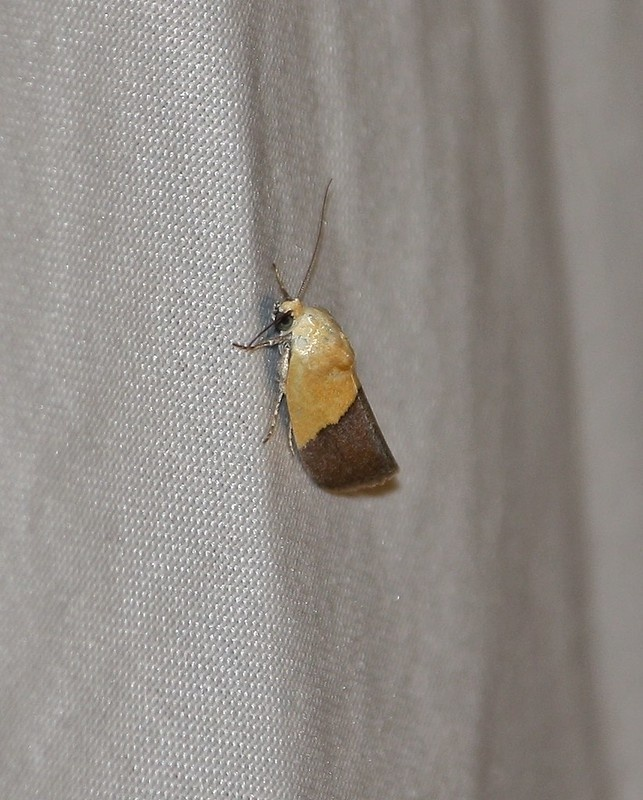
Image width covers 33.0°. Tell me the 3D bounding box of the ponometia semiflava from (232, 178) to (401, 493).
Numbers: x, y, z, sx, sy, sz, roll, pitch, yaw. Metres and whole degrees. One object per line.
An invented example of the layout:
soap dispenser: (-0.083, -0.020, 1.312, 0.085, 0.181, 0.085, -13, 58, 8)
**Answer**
ponometia semiflava: (-0.007, -0.038, 1.406, 0.261, 0.056, 0.289, -53, 133, -44)
